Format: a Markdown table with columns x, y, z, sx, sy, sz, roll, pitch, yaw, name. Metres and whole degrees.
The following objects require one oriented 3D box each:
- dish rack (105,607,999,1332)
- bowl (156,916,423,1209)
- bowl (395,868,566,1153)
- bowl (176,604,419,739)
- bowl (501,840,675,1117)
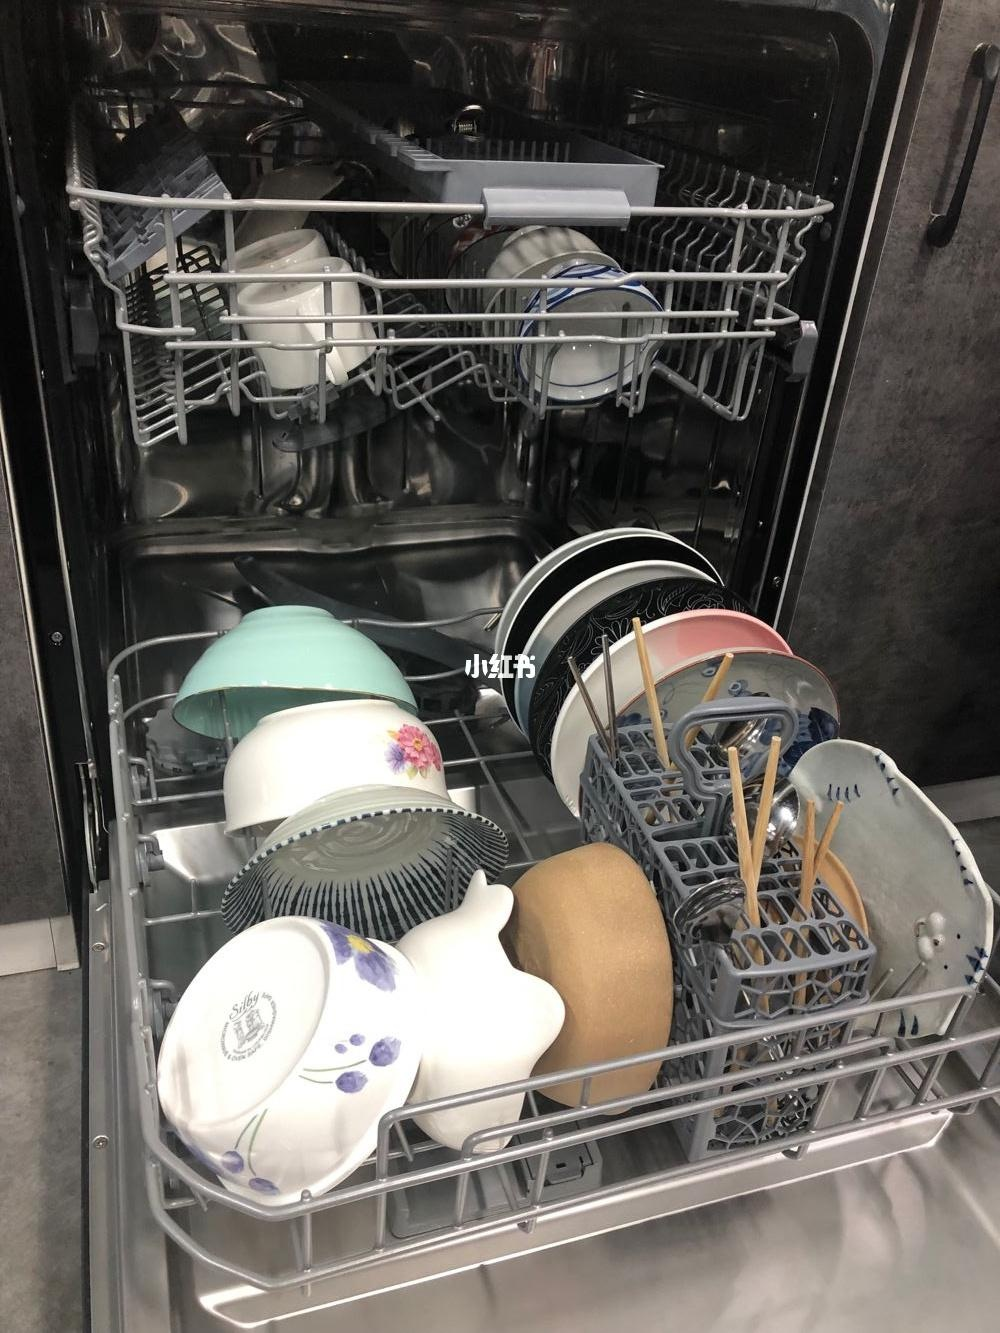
| x | y | z | sx | sy | sz | roll | pitch | yaw | name |
| --- | --- | --- | --- | --- | --- | --- | --- | --- | --- |
| 0.038 | 0.256 | 0.659 | 0.450 | 0.117 | 0.388 | -10 | 58 | -12 | dish rack |
| -0.111 | 0.193 | 0.553 | 0.141 | 0.085 | 0.139 | 4 | 30 | -2 | bowl |
| -0.026 | 0.196 | 0.620 | 0.126 | 0.133 | 0.062 | 5 | -15 | -29 | bowl |
| -0.165 | -0.014 | 0.825 | 0.160 | 0.064 | 0.150 | -4 | 4 | 0 | bowl |
| 0.022 | 0.172 | 0.590 | 0.059 | 0.112 | 0.136 | 3 | 66 | -16 | bowl |
